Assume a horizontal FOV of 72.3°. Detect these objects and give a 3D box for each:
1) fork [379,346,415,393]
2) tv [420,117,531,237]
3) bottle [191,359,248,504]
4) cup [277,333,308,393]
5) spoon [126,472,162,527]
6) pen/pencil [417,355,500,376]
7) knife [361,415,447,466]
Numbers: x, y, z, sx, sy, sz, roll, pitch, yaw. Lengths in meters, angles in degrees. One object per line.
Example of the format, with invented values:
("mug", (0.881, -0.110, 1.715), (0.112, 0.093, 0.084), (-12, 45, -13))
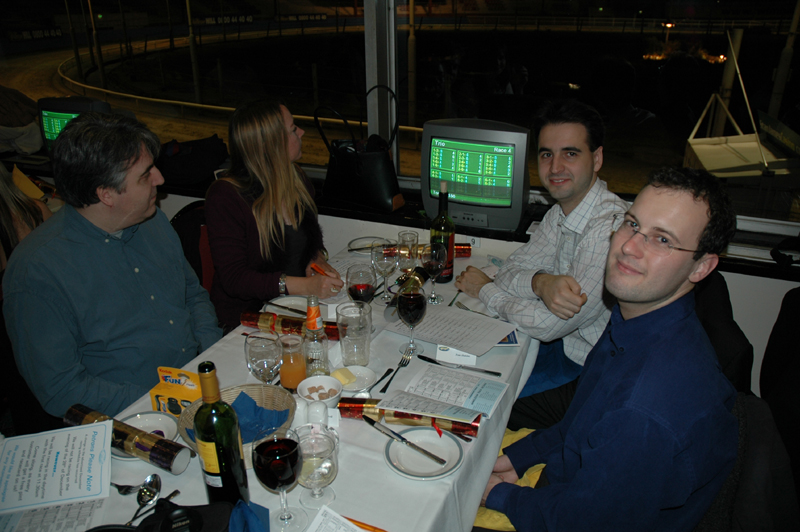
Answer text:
("fork", (-0.011, 0.411, 2.133), (0.027, 0.024, 0.192), (10, 41, 29))
("tv", (0.489, -0.558, 3.448), (0.744, 0.721, 0.627), (10, 38, 18))
("bottle", (-0.538, 0.517, 1.613), (0.131, 0.454, 0.188), (-12, 30, -19))
("cup", (-0.393, 0.361, 2.017), (0.119, 0.187, 0.183), (0, 15, -4))
("spoon", (-0.786, 0.719, 1.701), (0.047, 0.022, 0.164), (8, 51, 14))
("pen/pencil", (0.223, 0.396, 2.164), (0.261, 0.021, 0.028), (9, 46, 5))
("knife", (0.022, 0.601, 1.862), (0.254, 0.018, 0.035), (28, 47, 26))
